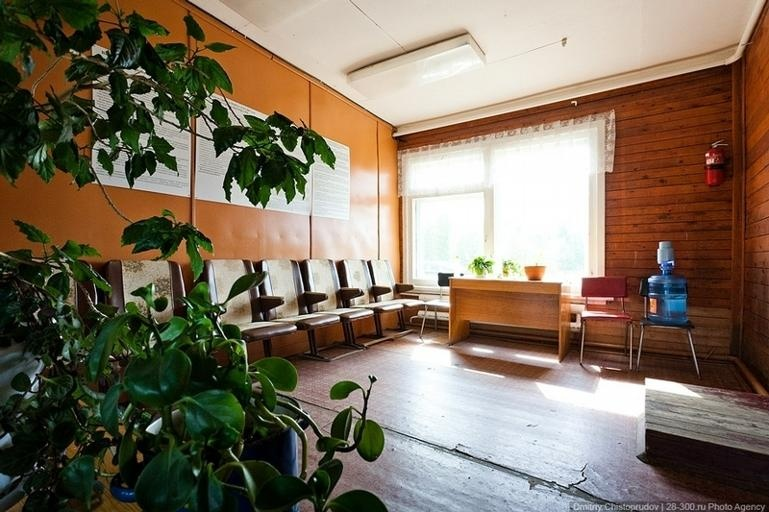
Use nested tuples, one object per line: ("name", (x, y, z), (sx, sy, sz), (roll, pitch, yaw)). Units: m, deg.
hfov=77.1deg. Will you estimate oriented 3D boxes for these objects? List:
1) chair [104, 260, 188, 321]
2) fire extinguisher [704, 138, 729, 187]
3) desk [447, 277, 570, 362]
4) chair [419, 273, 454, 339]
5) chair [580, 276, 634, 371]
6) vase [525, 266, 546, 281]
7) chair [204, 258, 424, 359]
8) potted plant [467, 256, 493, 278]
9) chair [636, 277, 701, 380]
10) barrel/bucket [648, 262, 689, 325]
("chair", (-1.454, 0.197, 2.912), (0.417, 0.489, 0.355), (-25, -24, 38))
("fire extinguisher", (3.251, -0.907, 4.728), (0.196, 0.455, 0.141), (5, 8, 33))
("desk", (1.370, 0.636, 5.352), (1.178, 0.758, 0.579), (1, 0, 31))
("chair", (0.693, 0.582, 5.818), (0.464, 0.663, 0.408), (-11, 8, -40))
("chair", (2.203, 0.641, 4.817), (0.545, 0.822, 0.588), (0, 1, 36))
("vase", (1.597, 0.187, 5.080), (0.167, 0.116, 0.163), (4, -7, -24))
("chair", (-0.642, 0.527, 4.976), (0.723, 1.132, 2.447), (6, 9, 36))
("potted plant", (1.156, 0.146, 5.596), (0.252, 0.179, 0.258), (-4, -7, 41))
("chair", (2.882, 0.629, 4.905), (0.662, 0.884, 0.725), (2, 0, 5))
("barrel/bucket", (2.899, 0.365, 4.932), (0.358, 0.619, 0.364), (0, -1, 0))
